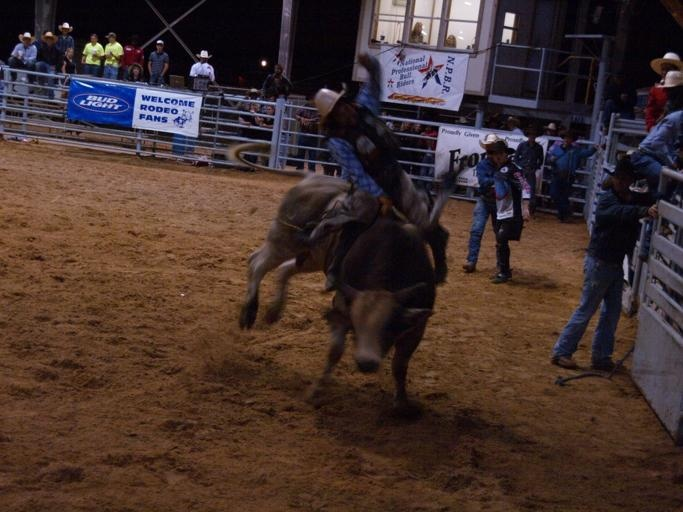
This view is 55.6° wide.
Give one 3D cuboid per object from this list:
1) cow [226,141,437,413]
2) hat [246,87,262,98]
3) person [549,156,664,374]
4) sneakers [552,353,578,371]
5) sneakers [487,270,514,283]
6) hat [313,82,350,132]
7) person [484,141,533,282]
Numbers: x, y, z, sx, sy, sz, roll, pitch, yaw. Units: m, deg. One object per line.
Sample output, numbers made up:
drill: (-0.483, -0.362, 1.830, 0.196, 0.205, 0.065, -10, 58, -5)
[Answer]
cow: (-0.008, 0.276, 5.990, 1.006, 2.035, 2.607, 1, 11, -31)
hat: (-2.412, -4.534, 18.162, 0.197, 0.275, 0.592, -6, 4, -29)
person: (2.792, 0.107, 6.791, 0.651, 2.285, 0.625, 8, 11, -3)
sneakers: (2.412, 1.141, 7.005, 0.123, 0.113, 0.310, 2, -2, -36)
sneakers: (2.466, 0.320, 9.935, 0.413, 0.151, 0.142, 3, 6, -35)
hat: (-0.102, -1.352, 5.839, 0.297, 0.383, 0.375, 7, 10, -2)
person: (2.408, -0.657, 9.695, 0.753, 2.113, 0.579, 11, 12, 12)
